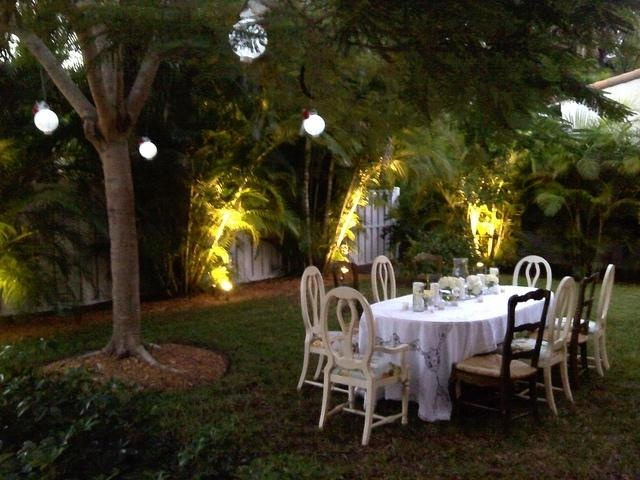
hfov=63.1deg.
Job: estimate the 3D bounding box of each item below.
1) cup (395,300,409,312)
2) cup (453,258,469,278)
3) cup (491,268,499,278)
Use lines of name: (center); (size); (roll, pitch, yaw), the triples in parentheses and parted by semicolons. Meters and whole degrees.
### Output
cup: (0.657, 0.515, 4.090); (0.056, 0.064, 0.058); (1, 1, 0)
cup: (1.234, 0.236, 4.599); (0.135, 0.222, 0.146); (-3, 7, 0)
cup: (1.671, 0.299, 4.972); (0.083, 0.110, 0.087); (-1, 12, 0)
